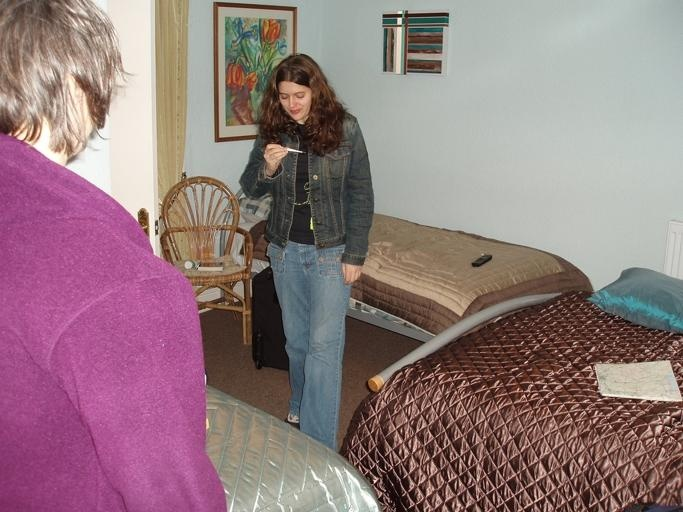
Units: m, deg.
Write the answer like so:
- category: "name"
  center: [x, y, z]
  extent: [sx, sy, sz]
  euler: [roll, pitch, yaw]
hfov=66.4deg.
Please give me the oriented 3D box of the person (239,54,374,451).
- category: "person"
  center: [-0.170, 0.018, 2.311]
  extent: [0.562, 1.770, 0.547]
  euler: [2, 9, 11]

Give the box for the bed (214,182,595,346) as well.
- category: "bed"
  center: [0.453, -0.306, 3.257]
  extent: [1.682, 0.480, 1.072]
  euler: [20, 29, 39]
